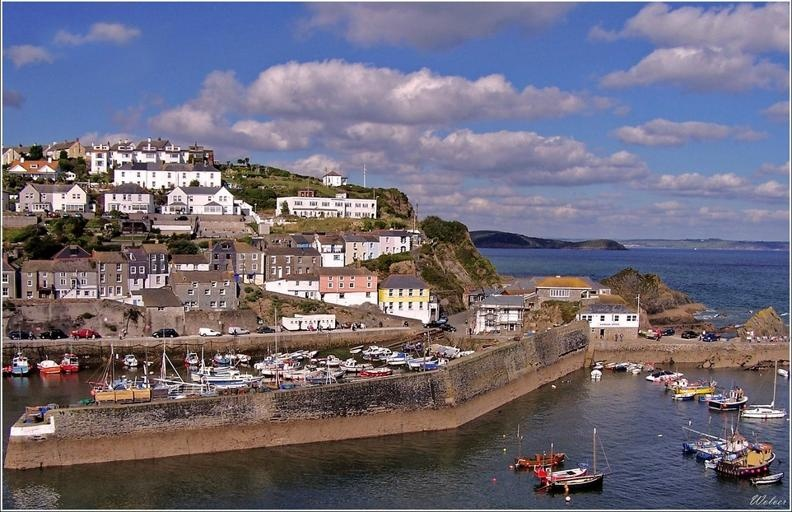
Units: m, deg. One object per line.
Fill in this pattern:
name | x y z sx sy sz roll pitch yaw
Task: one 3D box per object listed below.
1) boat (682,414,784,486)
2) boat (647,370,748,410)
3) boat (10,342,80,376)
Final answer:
boat | 26.763 16.213 80.081 4.162 2.508 5.362 -12 14 -40
boat | 27.939 12.403 91.764 5.922 1.313 9.319 -2 11 -30
boat | -32.615 9.881 92.432 6.003 1.739 3.299 2 9 -8
